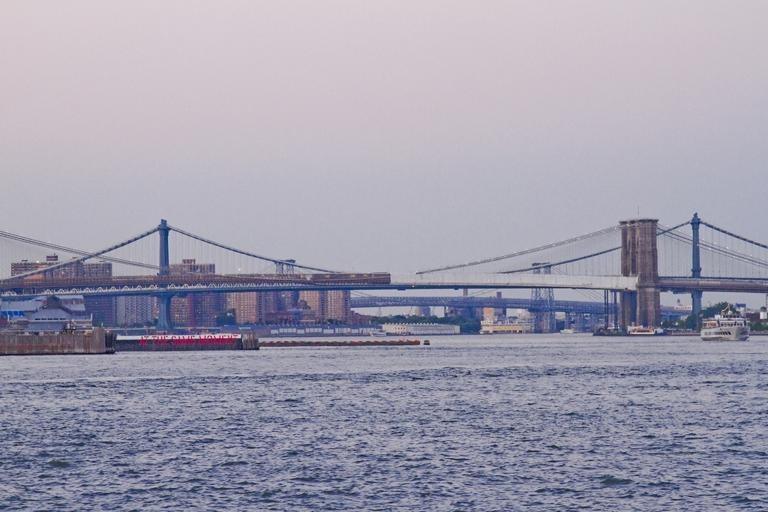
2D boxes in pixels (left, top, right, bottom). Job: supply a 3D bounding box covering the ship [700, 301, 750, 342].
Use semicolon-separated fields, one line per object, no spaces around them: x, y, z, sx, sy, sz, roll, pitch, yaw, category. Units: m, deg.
38.102;7.789;260.104;3.535;2.988;10.626;-5;-2;-4;ship
